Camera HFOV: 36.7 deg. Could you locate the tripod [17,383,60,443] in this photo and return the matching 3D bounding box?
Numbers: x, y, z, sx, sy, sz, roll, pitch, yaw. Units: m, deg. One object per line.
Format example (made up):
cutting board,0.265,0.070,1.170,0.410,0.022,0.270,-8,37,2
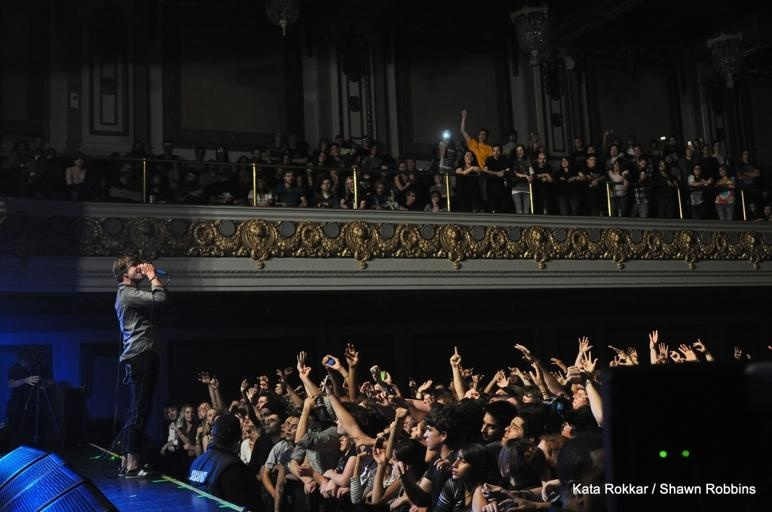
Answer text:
tripod,-6.516,2.892,21.579,0.653,1.110,1.137,0,-2,-19
